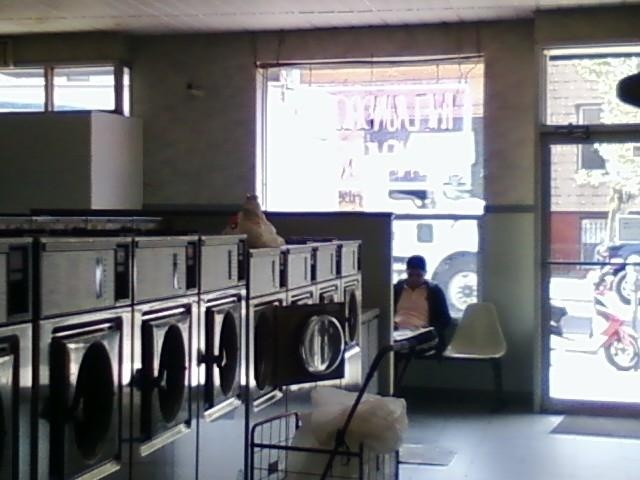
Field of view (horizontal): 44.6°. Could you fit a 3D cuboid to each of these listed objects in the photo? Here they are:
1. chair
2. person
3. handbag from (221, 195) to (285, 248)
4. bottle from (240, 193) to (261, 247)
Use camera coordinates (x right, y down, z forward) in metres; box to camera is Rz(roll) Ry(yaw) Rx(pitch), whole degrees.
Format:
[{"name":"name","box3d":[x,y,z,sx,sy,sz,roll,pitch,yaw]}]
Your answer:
[{"name":"chair","box3d":[1.195,0.997,7.196,1.086,1.203,0.809,-4,-12,32]},{"name":"person","box3d":[0.837,0.573,7.086,0.587,0.906,0.619,6,-14,-6]},{"name":"handbag","box3d":[-0.392,-0.040,4.549,0.220,0.376,0.353,-13,-22,17]},{"name":"bottle","box3d":[-0.400,-0.109,4.467,0.115,0.116,0.345,18,27,-9]}]
